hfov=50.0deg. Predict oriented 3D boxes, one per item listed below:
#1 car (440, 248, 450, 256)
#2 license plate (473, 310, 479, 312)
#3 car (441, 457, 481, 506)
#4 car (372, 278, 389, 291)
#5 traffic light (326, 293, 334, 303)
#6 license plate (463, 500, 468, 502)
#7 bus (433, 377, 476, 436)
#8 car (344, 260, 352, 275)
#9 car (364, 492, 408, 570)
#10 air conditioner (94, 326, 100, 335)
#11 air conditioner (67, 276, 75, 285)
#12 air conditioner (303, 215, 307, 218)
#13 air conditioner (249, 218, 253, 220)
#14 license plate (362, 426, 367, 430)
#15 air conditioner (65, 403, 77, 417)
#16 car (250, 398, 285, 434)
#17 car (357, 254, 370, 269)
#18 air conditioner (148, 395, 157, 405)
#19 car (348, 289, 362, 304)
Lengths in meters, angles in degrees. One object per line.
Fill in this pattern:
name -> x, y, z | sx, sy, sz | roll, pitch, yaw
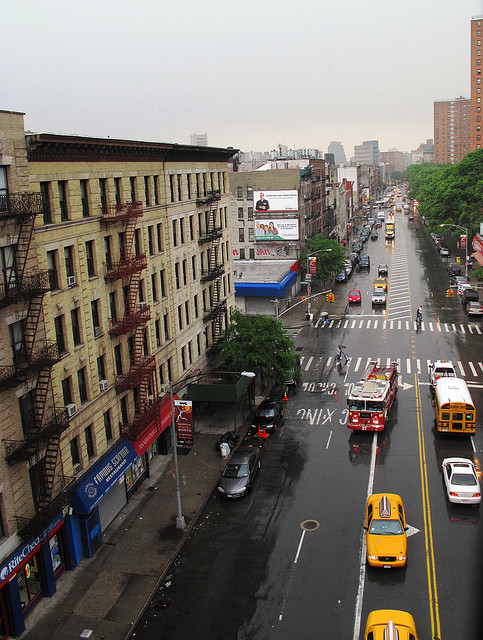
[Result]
car -> 41.398, -13.336, 105.266 | 1.212, 1.316, 2.372 | 1, 25, 10
license plate -> 27.209, -0.908, 60.011 | 0.535, 0.247, 0.134 | -4, 4, 2
car -> 10.126, 7.335, 23.896 | 0.957, 0.841, 2.428 | -1, 26, 8
car -> 20.782, -5.282, 77.633 | 1.358, 1.222, 3.279 | 0, 1, 8
traffic light -> 12.090, -2.803, 70.513 | 0.929, 1.517, 0.977 | 3, 10, 24
license plate -> 9.917, 8.048, 22.891 | 0.191, 0.123, 0.080 | -3, 5, 11
bus -> 12.879, 5.311, 31.882 | 1.893, 2.147, 3.826 | -1, 5, 8
car -> 18.859, -9.112, 91.137 | 1.804, 1.967, 4.287 | -1, 5, 6
car -> 5.477, 8.026, 19.866 | 0.974, 1.124, 3.263 | -1, 8, 8
air conditioner -> -6.494, 0.530, 23.164 | 0.193, 0.406, 0.390 | 2, 9, 15
air conditioner -> -6.843, -1.536, 20.728 | 0.215, 0.322, 0.422 | 0, 4, 10
air conditioner -> 10.406, -16.832, 84.830 | 0.568, 0.529, 0.627 | -1, 1, 7
air conditioner -> 1.409, -15.456, 80.049 | 0.618, 0.257, 0.074 | -2, 5, 25
license plate -> 7.790, 6.921, 32.744 | 0.216, 0.243, 0.125 | -1, -9, 6
air conditioner -> -6.739, 3.560, 20.430 | 0.294, 0.464, 0.604 | 1, 11, 5
car -> 1.762, 6.655, 35.131 | 1.506, 1.455, 3.617 | -2, 5, 18
car -> 23.323, -10.896, 98.385 | 2.123, 2.066, 5.111 | 0, 8, 11
air conditioner -> -5.031, 4.489, 28.825 | 0.347, 0.421, 0.693 | -1, -2, -3
car -> 15.488, -3.037, 71.014 | 1.029, 1.080, 2.348 | 1, 19, 7
